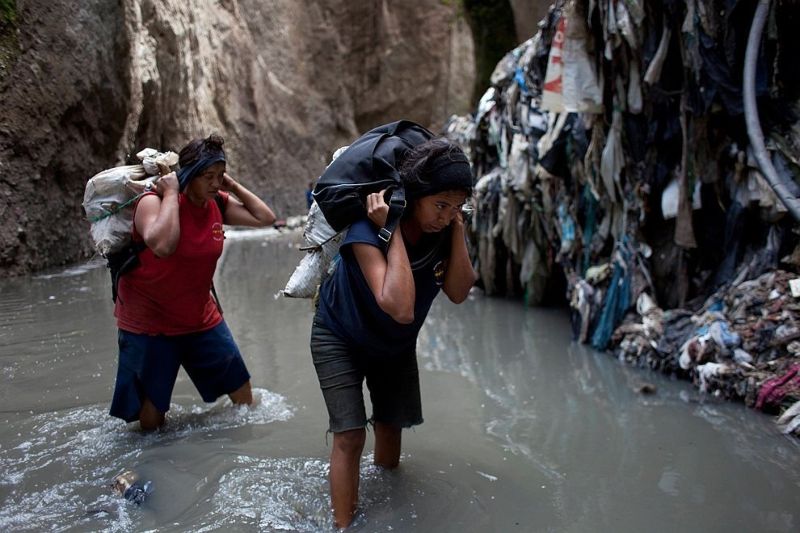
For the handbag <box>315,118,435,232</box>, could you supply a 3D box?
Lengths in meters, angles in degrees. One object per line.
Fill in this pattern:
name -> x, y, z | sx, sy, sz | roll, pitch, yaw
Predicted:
handbag -> -0.193, -0.629, 5.550 | 0.823, 0.736, 0.458 | -3, 11, 2
